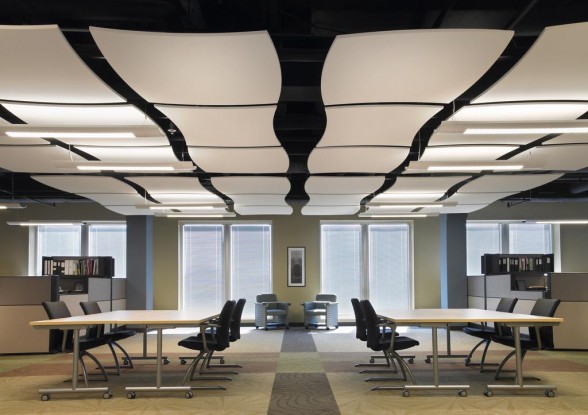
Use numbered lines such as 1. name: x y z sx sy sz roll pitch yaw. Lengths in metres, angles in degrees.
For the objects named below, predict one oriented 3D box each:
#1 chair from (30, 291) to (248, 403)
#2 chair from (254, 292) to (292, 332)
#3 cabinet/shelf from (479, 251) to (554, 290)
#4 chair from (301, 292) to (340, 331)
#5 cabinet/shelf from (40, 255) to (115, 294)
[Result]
1. chair: -2.242 2.097 8.952 2.661 1.356 1.277 0 -9 -6
2. chair: -0.546 2.689 15.476 0.928 0.848 0.899 1 -7 -7
3. cabinet/shelf: 5.141 1.406 13.184 1.301 0.882 1.588 0 -9 0
4. chair: 0.700 2.689 15.457 0.787 0.871 0.689 -3 -6 24
5. cabinet/shelf: -5.302 1.624 14.391 1.594 0.844 0.491 2 0 -21
